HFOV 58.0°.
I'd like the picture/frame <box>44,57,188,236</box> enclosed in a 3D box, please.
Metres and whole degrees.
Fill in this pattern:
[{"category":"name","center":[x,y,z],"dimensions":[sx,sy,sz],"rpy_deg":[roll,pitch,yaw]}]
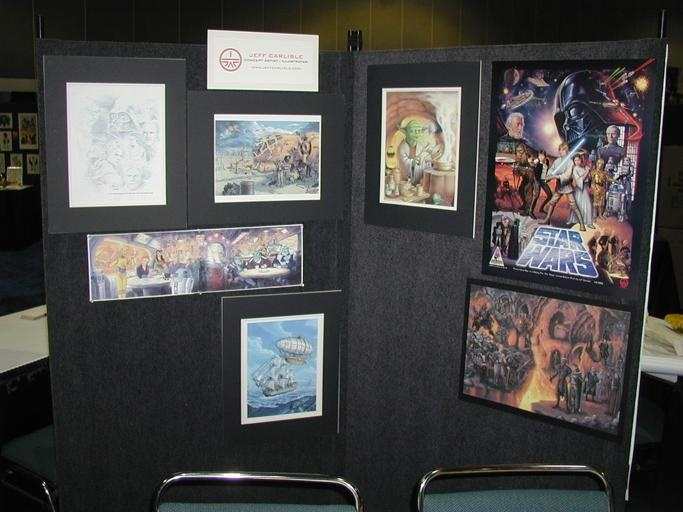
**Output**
[{"category":"picture/frame","center":[-0.820,-0.414,2.192],"dimensions":[0.624,0.772,0.029],"rpy_deg":[-1,6,-15]}]

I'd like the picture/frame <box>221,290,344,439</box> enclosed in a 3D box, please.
[{"category":"picture/frame","center":[-0.259,0.419,2.483],"dimensions":[0.598,0.727,0.031],"rpy_deg":[-2,7,-15]}]

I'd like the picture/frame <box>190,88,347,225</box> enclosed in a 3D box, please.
[{"category":"picture/frame","center":[-0.299,-0.388,2.321],"dimensions":[0.520,0.424,0.011],"rpy_deg":[-2,13,-13]}]

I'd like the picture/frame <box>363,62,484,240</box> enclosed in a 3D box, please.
[{"category":"picture/frame","center":[0.327,-0.416,2.330],"dimensions":[0.622,0.857,0.056],"rpy_deg":[4,7,20]}]

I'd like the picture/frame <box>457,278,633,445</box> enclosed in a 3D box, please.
[{"category":"picture/frame","center":[0.765,0.369,2.241],"dimensions":[0.577,0.456,0.011],"rpy_deg":[11,13,25]}]
